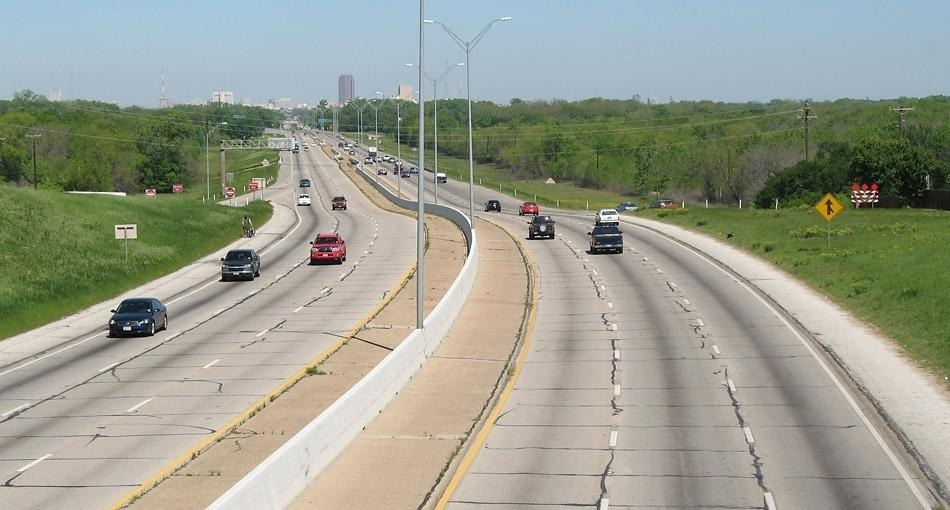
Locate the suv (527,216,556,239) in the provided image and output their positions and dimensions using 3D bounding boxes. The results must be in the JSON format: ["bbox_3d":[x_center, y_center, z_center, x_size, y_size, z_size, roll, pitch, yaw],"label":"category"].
[{"bbox_3d":[6.630,-2.698,117.712,2.463,2.128,2.137,1,11,5],"label":"suv"}]

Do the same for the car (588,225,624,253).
[{"bbox_3d":[11.911,-1.275,108.013,2.844,2.414,2.001,1,11,9],"label":"car"}]

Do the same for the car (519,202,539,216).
[{"bbox_3d":[6.588,-5.561,146.919,1.683,1.004,3.025,1,8,0],"label":"car"}]

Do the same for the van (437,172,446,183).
[{"bbox_3d":[-5.458,-12.418,193.864,1.555,1.034,2.321,0,13,-1],"label":"van"}]

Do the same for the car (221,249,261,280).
[{"bbox_3d":[-20.705,0.661,104.773,3.270,2.066,5.412,1,11,-1],"label":"car"}]

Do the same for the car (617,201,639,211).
[{"bbox_3d":[19.203,-6.030,150.013,1.886,0.850,2.714,-1,1,-3],"label":"car"}]

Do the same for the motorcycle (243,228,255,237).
[{"bbox_3d":[-23.683,-2.279,123.589,1.174,0.575,1.312,-1,4,-13],"label":"motorcycle"}]

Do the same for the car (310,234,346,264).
[{"bbox_3d":[-14.065,0.215,110.511,2.987,2.168,5.700,-1,-12,-7],"label":"car"}]

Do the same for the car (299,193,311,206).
[{"bbox_3d":[-22.352,-7.148,155.067,2.267,1.363,4.491,-2,2,-9],"label":"car"}]
